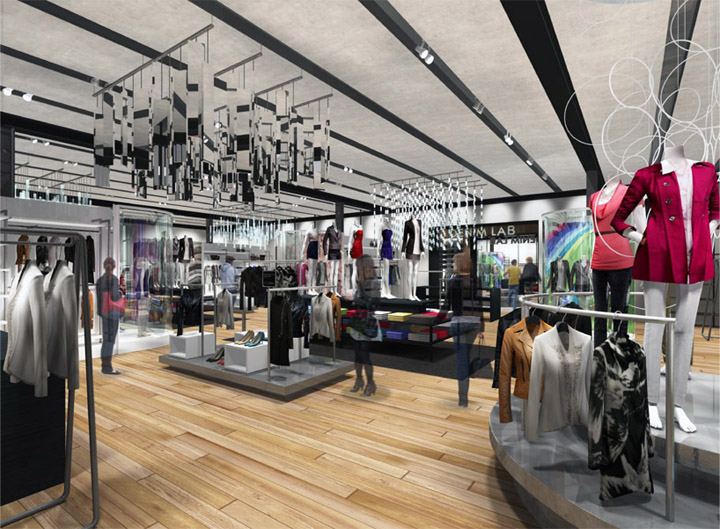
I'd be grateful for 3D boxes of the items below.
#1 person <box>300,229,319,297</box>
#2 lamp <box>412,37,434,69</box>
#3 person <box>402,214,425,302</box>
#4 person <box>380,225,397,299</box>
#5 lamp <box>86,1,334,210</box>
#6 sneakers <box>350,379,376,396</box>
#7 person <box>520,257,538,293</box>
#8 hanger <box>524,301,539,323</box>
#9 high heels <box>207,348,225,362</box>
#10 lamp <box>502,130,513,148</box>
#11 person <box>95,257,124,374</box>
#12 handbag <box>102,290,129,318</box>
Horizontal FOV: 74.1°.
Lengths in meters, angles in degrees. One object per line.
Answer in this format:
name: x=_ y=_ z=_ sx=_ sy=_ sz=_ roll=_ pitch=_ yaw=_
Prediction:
person: x=-0.888 y=-0.061 z=8.431 sx=0.316 sy=1.021 sz=1.118 roll=-1 pitch=10 yaw=-8
lamp: x=0.743 y=-2.478 z=5.619 sx=0.075 sy=0.148 sz=0.240 roll=12 pitch=-29 yaw=39
person: x=0.952 y=-0.107 z=8.581 sx=0.326 sy=1.383 sz=0.838 roll=1 pitch=9 yaw=6
person: x=0.505 y=-0.045 z=8.525 sx=0.271 sy=1.203 sz=0.568 roll=0 pitch=9 yaw=4
lamp: x=-1.824 y=-1.634 z=6.092 sx=2.402 sy=1.443 sz=2.279 roll=6 pitch=-10 yaw=-44
sneakers: x=0.041 y=1.487 z=5.847 sx=0.306 sy=0.210 sz=0.192 roll=0 pitch=9 yaw=3
person: x=4.422 y=0.402 z=12.457 sx=0.457 sy=0.879 sz=1.241 roll=3 pitch=10 yaw=19
hanger: x=1.351 y=0.397 z=3.757 sx=0.105 sy=0.120 sz=0.181 roll=0 pitch=-3 yaw=-3
high heels: x=-2.073 y=1.265 z=6.800 sx=0.235 sy=0.203 sz=0.423 roll=-3 pitch=10 yaw=-14
lamp: x=2.689 y=-2.270 z=8.605 sx=0.221 sy=0.117 sz=0.227 roll=1 pitch=-33 yaw=30
person: x=-3.725 y=0.694 z=7.063 sx=0.321 sy=1.514 sz=0.878 roll=-5 pitch=11 yaw=-28
handbag: x=-3.806 y=0.600 z=7.360 sx=0.366 sy=0.372 sz=0.386 roll=1 pitch=1 yaw=-19
